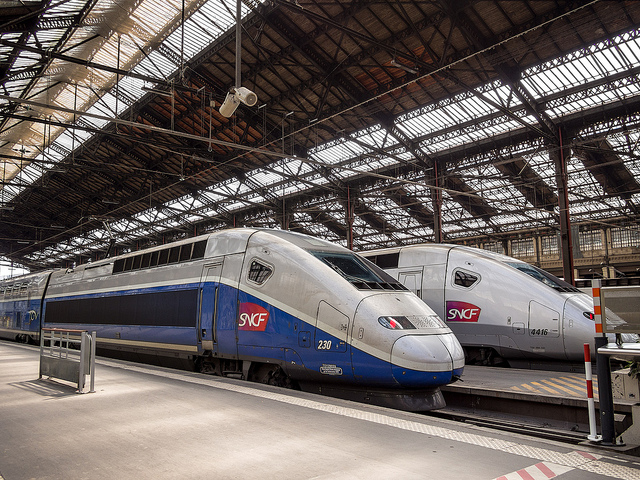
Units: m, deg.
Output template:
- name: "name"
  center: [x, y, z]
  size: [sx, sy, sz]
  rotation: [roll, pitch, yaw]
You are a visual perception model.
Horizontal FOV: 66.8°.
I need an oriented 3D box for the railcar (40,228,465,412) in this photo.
- name: "railcar"
  center: [-3.789, 2.042, 14.992]
  size: [17.204, 3.491, 3.343]
  rotation: [-7, -12, 41]
